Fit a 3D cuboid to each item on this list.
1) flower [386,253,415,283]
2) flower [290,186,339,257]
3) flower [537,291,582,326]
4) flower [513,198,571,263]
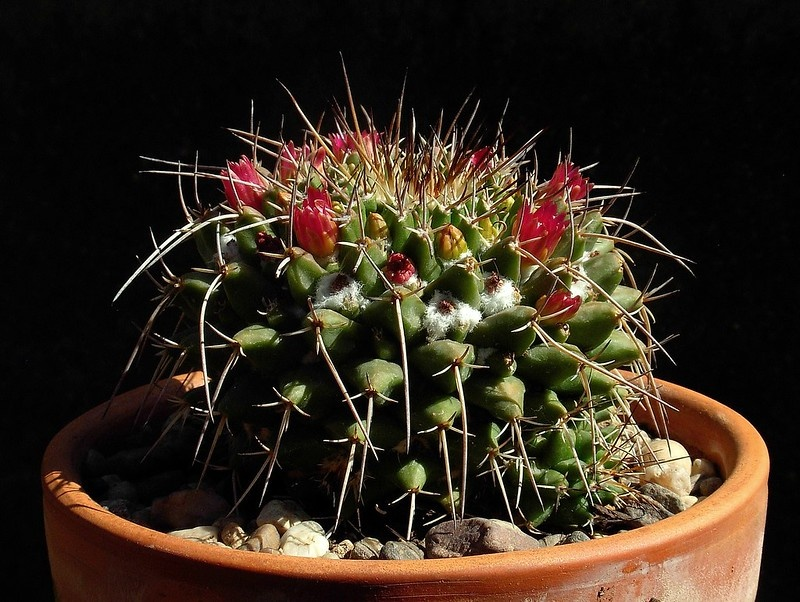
[{"bbox_3d":[0.001,-0.052,1.319,0.051,0.048,0.027,1,9,0],"label":"flower"},{"bbox_3d":[-0.144,-0.133,1.389,0.077,0.119,0.070,2,9,4],"label":"flower"},{"bbox_3d":[0.262,0.013,1.318,0.090,0.056,0.060,-2,9,-17],"label":"flower"},{"bbox_3d":[0.235,-0.123,1.436,0.105,0.110,0.097,-14,22,-40],"label":"flower"}]
